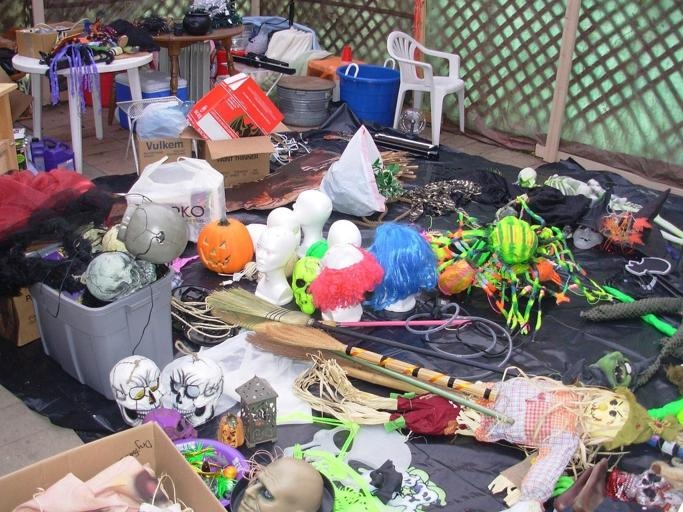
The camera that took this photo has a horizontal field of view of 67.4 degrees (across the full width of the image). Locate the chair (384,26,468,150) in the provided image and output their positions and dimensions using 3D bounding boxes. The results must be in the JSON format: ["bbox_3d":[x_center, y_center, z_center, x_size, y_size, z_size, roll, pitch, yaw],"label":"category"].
[{"bbox_3d":[0.606,-1.542,4.780,0.712,0.771,0.722,-10,4,32],"label":"chair"}]

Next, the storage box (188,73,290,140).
[{"bbox_3d":[-0.650,-1.074,3.792,0.348,0.487,0.564,10,5,-43],"label":"storage box"}]

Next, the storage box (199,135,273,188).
[{"bbox_3d":[-0.710,-0.680,3.587,0.501,0.223,0.376,-11,45,-18],"label":"storage box"}]

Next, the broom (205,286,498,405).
[{"bbox_3d":[-0.051,0.434,2.493,1.333,0.155,0.283,25,9,-31],"label":"broom"}]

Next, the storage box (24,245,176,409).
[{"bbox_3d":[-1.018,0.260,2.306,0.617,0.433,0.519,16,28,33],"label":"storage box"}]

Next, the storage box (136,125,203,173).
[{"bbox_3d":[-1.198,-0.787,3.529,0.390,0.226,0.381,-2,24,-7],"label":"storage box"}]

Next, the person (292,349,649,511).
[{"bbox_3d":[0.487,0.614,1.948,0.823,0.251,0.560,6,25,12],"label":"person"}]

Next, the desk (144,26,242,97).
[{"bbox_3d":[-1.287,-1.793,4.594,0.821,0.494,0.800,13,35,18],"label":"desk"}]

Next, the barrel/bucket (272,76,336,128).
[{"bbox_3d":[-0.374,-1.431,4.904,0.568,0.338,0.538,2,38,-1],"label":"barrel/bucket"}]

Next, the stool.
[{"bbox_3d":[-1.277,-0.838,3.703,0.418,0.529,0.375,-7,31,-17],"label":"stool"}]

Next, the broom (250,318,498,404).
[{"bbox_3d":[0.115,0.471,2.240,0.853,0.176,0.117,15,-6,22],"label":"broom"}]

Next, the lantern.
[{"bbox_3d":[-0.595,-0.092,2.899,0.323,0.317,0.309,7,19,21],"label":"lantern"}]
